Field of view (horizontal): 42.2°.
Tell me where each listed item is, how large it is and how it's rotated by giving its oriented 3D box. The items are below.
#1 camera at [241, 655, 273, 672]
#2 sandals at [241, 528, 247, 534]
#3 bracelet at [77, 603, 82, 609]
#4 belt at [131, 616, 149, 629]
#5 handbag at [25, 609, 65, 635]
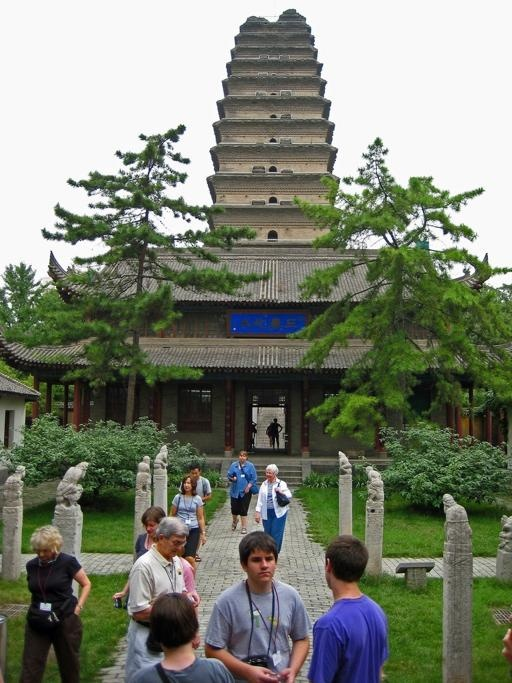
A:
[{"bbox_3d":[0.012,1.528,3.137,0.144,0.069,0.086,2,-10,-1],"label":"camera"},{"bbox_3d":[-0.219,3.402,11.910,0.084,0.093,0.236,-1,-13,-2],"label":"sandals"},{"bbox_3d":[-1.193,1.785,4.479,0.034,0.015,0.041,1,-6,-20],"label":"bracelet"},{"bbox_3d":[-0.668,1.642,3.869,0.075,0.050,0.022,5,19,25],"label":"belt"},{"bbox_3d":[-1.395,1.839,4.392,0.177,0.128,0.211,-5,-15,18],"label":"handbag"}]
